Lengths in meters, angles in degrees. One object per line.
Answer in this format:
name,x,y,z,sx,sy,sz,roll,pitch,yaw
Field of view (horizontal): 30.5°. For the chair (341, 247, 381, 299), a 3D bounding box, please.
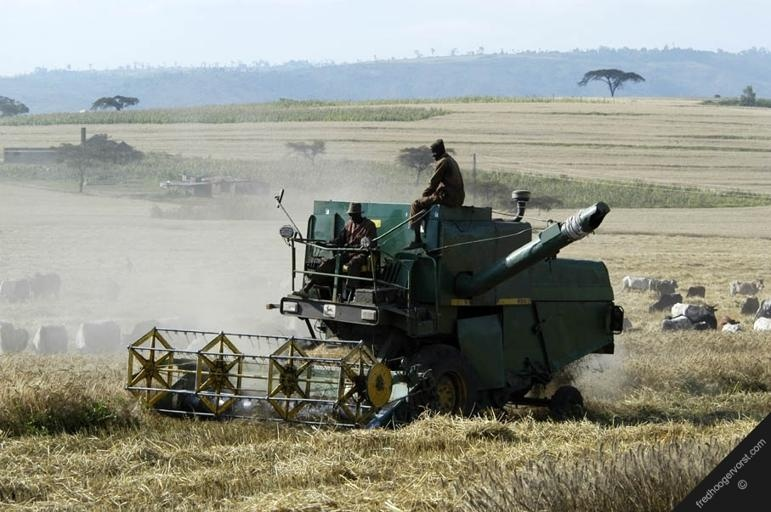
chair,-1.106,0.630,59.284,1.780,2.097,1.873,-2,2,20
